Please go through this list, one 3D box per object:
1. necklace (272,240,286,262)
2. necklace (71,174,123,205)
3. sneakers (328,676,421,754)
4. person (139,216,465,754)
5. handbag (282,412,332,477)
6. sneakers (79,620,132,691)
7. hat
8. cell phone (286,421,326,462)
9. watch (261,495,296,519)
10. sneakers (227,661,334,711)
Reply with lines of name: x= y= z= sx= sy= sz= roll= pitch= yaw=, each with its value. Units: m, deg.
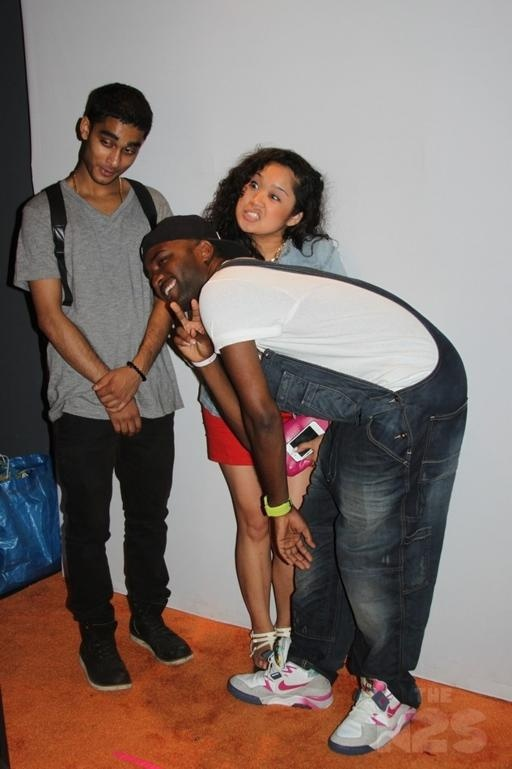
necklace: x=0.069 y=-0.392 z=1.917 sx=0.024 sy=0.063 sz=0.047 roll=32 pitch=-8 yaw=-26
necklace: x=-0.470 y=-0.566 z=1.952 sx=0.129 sy=0.061 sz=0.094 roll=24 pitch=7 yaw=5
sneakers: x=0.308 y=0.863 z=1.726 sx=0.262 sy=0.169 sz=0.092 roll=-24 pitch=20 yaw=-22
person: x=0.173 y=0.331 z=1.661 sx=0.641 sy=1.276 sz=0.336 roll=-1 pitch=14 yaw=-8
handbag: x=0.135 y=0.158 z=1.760 sx=0.122 sy=0.157 sz=0.048 roll=28 pitch=16 yaw=5
sneakers: x=-0.480 y=0.834 z=2.006 sx=0.092 sy=0.116 sz=0.264 roll=1 pitch=3 yaw=-26
hat: x=-0.164 y=-0.370 z=1.593 sx=0.208 sy=0.095 sz=0.122 roll=-2 pitch=4 yaw=-17
cell phone: x=0.128 y=0.139 z=1.713 sx=0.100 sy=0.095 sz=0.023 roll=-5 pitch=22 yaw=-18
watch: x=0.055 y=0.297 z=1.594 sx=0.066 sy=0.063 sz=0.024 roll=-3 pitch=54 yaw=3
sneakers: x=0.079 y=0.858 z=1.930 sx=0.324 sy=0.143 sz=0.117 roll=4 pitch=6 yaw=6
